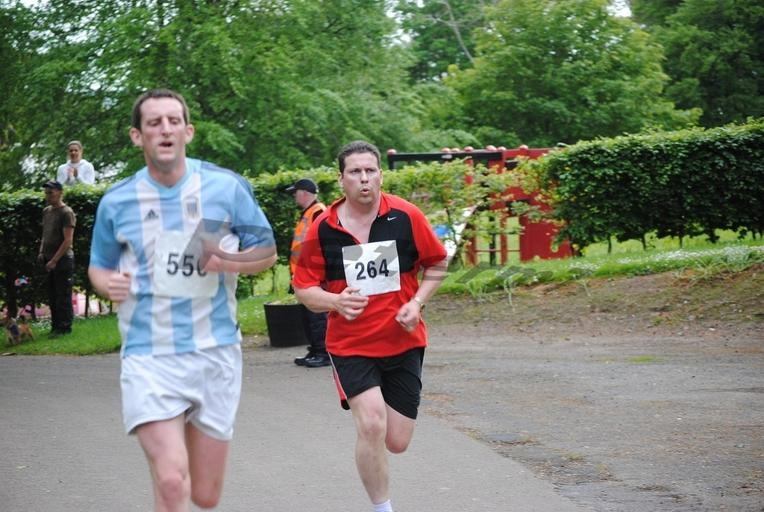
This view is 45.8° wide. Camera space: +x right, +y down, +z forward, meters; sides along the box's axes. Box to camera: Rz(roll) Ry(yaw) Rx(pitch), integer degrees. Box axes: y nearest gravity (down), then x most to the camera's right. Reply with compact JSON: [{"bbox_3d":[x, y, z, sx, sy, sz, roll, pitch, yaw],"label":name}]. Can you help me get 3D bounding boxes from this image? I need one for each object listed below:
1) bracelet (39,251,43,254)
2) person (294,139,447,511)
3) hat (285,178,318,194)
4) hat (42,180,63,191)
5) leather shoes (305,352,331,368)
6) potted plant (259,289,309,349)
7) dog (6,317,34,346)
[{"bbox_3d":[-5.903,-0.090,15.630,0.051,0.028,0.045,3,-6,-16],"label":"bracelet"},{"bbox_3d":[-0.148,0.614,8.363,1.149,3.363,1.169,0,12,20],"label":"person"},{"bbox_3d":[-1.231,-1.066,13.174,0.520,0.198,0.284,0,-1,4],"label":"hat"},{"bbox_3d":[-5.520,-1.233,15.186,0.213,0.116,0.260,4,-11,24],"label":"hat"},{"bbox_3d":[-0.850,1.535,13.052,0.556,0.197,0.198,6,-8,-34],"label":"leather shoes"},{"bbox_3d":[-1.594,1.122,14.568,0.876,0.535,0.840,-1,-4,-6],"label":"potted plant"},{"bbox_3d":[-6.301,1.285,15.703,0.412,0.448,0.534,-8,11,-20],"label":"dog"}]
